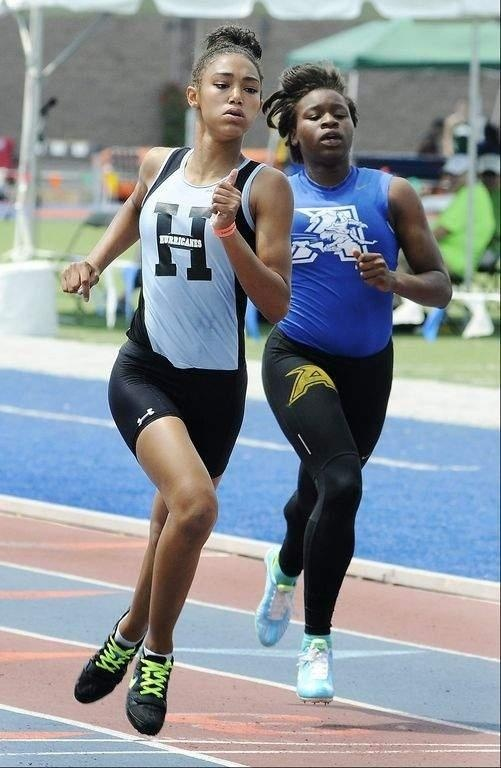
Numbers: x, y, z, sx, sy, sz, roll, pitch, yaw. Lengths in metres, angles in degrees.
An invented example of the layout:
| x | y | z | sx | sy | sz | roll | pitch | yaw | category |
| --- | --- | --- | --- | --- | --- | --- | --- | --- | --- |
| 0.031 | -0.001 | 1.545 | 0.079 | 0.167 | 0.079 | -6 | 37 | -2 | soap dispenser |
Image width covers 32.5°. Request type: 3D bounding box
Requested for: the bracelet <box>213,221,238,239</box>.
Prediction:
| x | y | z | sx | sy | sz | roll | pitch | yaw | category |
| --- | --- | --- | --- | --- | --- | --- | --- | --- | --- |
| -0.054 | -0.325 | 1.820 | 0.037 | 0.022 | 0.041 | -2 | 43 | -10 | bracelet |

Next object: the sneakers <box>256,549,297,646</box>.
| x | y | z | sx | sy | sz | roll | pitch | yaw | category |
| --- | --- | --- | --- | --- | --- | --- | --- | --- | --- |
| 0.088 | 0.759 | 3.035 | 0.121 | 0.145 | 0.327 | 21 | 54 | -22 | sneakers |

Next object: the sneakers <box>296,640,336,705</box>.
| x | y | z | sx | sy | sz | roll | pitch | yaw | category |
| --- | --- | --- | --- | --- | --- | --- | --- | --- | --- |
| 0.170 | 0.763 | 2.309 | 0.078 | 0.092 | 0.204 | 0 | 19 | -1 | sneakers |

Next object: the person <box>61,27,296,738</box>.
| x | y | z | sx | sy | sz | roll | pitch | yaw | category |
| --- | --- | --- | --- | --- | --- | --- | --- | --- | --- |
| -0.183 | -0.069 | 2.133 | 0.481 | 1.674 | 0.640 | 1 | 7 | -28 | person |

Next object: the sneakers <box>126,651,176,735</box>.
| x | y | z | sx | sy | sz | roll | pitch | yaw | category |
| --- | --- | --- | --- | --- | --- | --- | --- | --- | --- |
| -0.230 | 0.704 | 2.015 | 0.077 | 0.091 | 0.214 | 12 | 34 | -16 | sneakers |
